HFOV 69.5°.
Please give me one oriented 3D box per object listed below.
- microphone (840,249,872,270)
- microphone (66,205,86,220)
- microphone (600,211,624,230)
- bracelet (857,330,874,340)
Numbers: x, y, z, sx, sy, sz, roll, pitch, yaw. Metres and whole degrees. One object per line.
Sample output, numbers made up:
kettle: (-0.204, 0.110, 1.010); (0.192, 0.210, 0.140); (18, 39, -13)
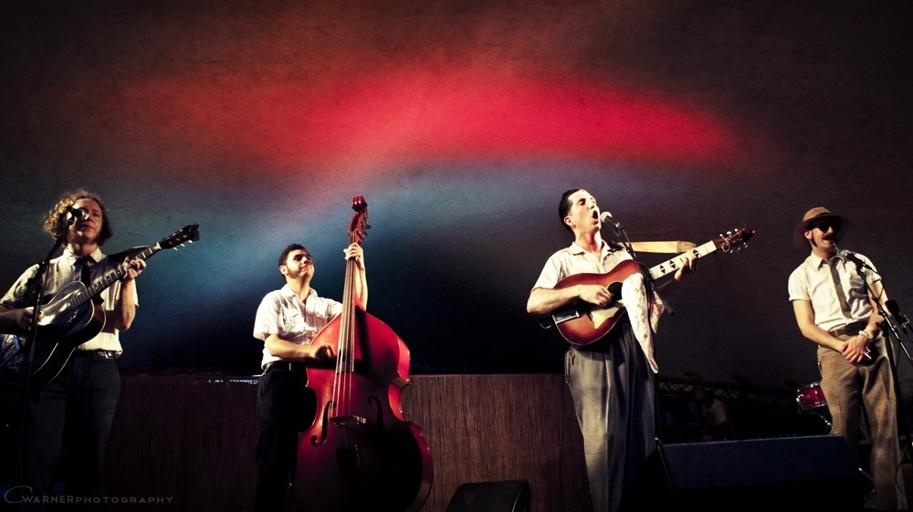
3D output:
microphone: (4.134, 0.013, 6.850); (0.135, 0.104, 0.365); (-18, 29, -13)
microphone: (-3.804, -0.417, 6.546); (0.171, 0.167, 0.066); (0, 1, -3)
microphone: (1.592, -0.355, 6.757); (0.142, 0.101, 0.262); (-20, 29, -17)
bracelet: (4.097, 0.791, 6.567); (0.085, 0.034, 0.114); (-40, 36, -8)
